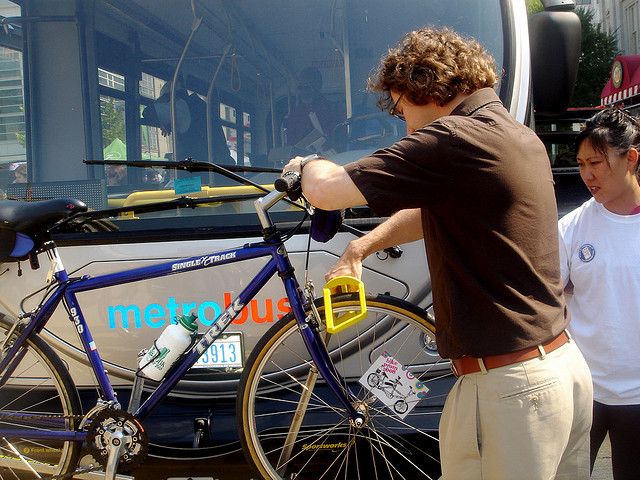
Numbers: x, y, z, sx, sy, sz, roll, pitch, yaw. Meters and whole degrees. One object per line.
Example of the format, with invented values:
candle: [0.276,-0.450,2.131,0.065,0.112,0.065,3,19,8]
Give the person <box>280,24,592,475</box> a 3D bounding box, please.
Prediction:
person: [0.583,0.072,2.463,1.065,1.929,0.350,-5,2,-10]
